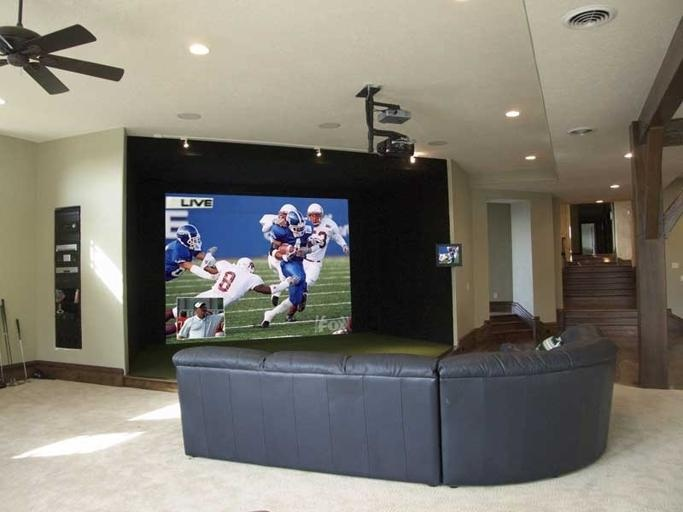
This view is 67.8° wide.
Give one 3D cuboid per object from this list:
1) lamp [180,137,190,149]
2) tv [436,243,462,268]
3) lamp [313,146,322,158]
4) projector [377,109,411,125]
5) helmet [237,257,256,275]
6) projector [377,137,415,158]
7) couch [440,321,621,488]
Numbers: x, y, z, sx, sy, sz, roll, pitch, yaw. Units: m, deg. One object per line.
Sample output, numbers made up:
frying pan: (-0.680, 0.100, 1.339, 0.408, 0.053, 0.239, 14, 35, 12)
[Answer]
lamp: (-2.256, -1.637, 7.397, 0.100, 0.157, 0.093, 3, 6, 40)
tv: (1.838, -0.036, 8.777, 0.433, 0.304, 0.046, 0, -2, -15)
lamp: (-0.366, -1.635, 7.967, 0.128, 0.220, 0.121, -3, -8, 18)
projector: (0.570, -1.576, 5.779, 0.329, 0.154, 0.461, -1, 5, -3)
helmet: (-1.711, 0.152, 9.154, 0.289, 0.261, 0.237, -16, 13, -30)
projector: (0.631, -1.264, 5.946, 0.311, 0.138, 0.246, 3, 8, 20)
couch: (1.476, 1.259, 4.205, 1.838, 0.926, 1.034, -2, 4, -19)
